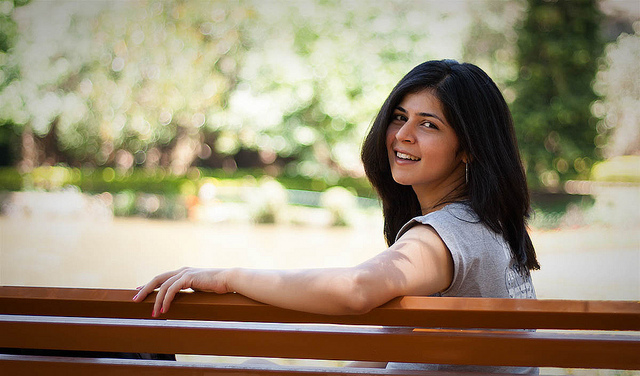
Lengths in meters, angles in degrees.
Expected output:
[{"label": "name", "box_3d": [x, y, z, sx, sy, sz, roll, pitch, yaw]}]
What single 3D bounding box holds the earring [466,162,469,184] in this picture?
[{"label": "earring", "box_3d": [1.143, -0.116, 4.537, 0.026, 0.132, 0.012, 3, 8, 6]}]
